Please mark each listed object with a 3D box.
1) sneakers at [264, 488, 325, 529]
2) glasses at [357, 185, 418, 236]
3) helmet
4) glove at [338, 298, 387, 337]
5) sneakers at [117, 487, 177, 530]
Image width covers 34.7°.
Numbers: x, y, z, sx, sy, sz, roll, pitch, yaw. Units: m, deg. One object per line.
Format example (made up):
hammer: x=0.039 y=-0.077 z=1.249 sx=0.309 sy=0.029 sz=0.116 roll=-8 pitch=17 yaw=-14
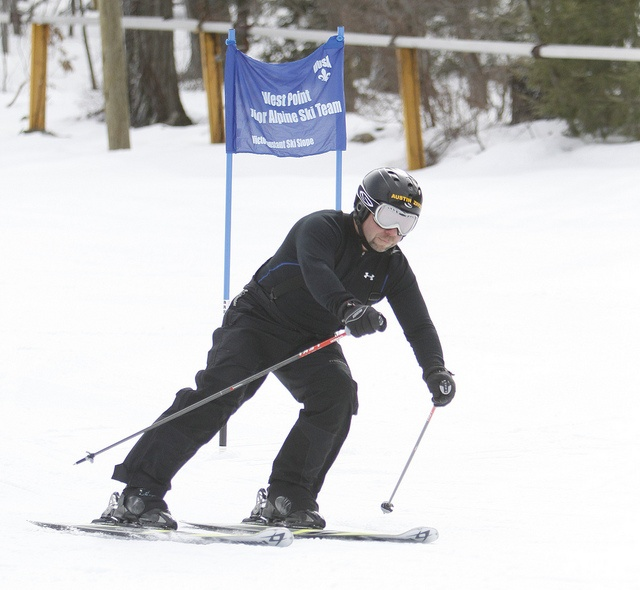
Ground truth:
sneakers: x=-0.157 y=1.139 z=5.408 sx=0.393 sy=0.145 sz=0.124 roll=8 pitch=-11 yaw=14
glasses: x=0.309 y=-0.448 z=5.375 sx=0.310 sy=0.120 sz=0.226 roll=39 pitch=5 yaw=42
helmet: x=0.372 y=-0.505 z=5.508 sx=0.358 sy=0.357 sz=0.435 roll=15 pitch=7 yaw=-21
glove: x=0.201 y=0.114 z=4.986 sx=0.204 sy=0.157 sz=0.083 roll=38 pitch=-27 yaw=24
sneakers: x=-0.851 y=1.090 z=5.189 sx=0.456 sy=0.171 sz=0.158 roll=-1 pitch=-19 yaw=33
